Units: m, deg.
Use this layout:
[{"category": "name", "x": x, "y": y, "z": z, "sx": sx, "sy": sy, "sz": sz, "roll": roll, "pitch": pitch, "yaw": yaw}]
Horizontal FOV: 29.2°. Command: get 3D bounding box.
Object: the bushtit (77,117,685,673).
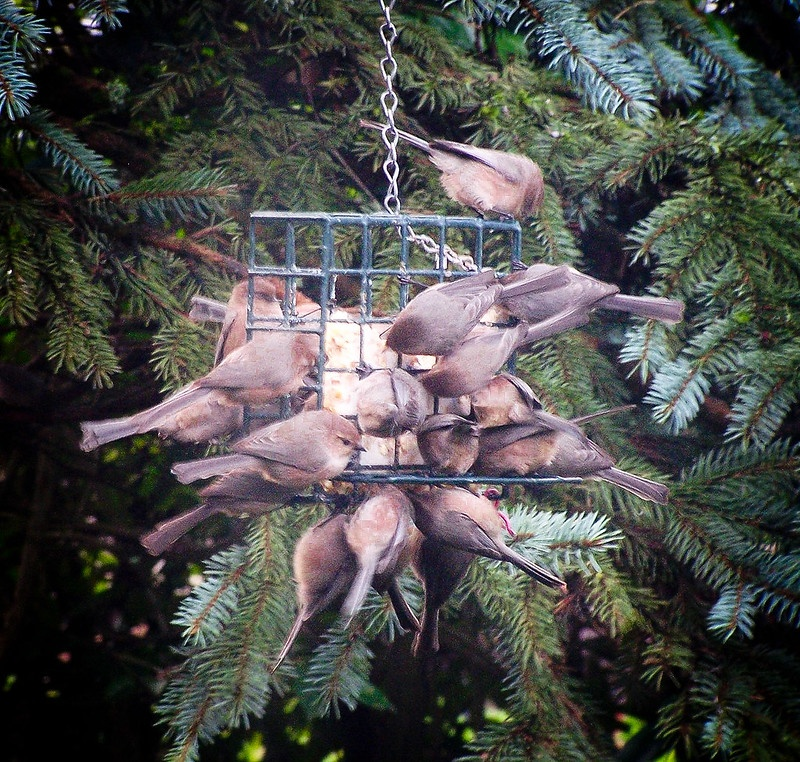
[{"category": "bushtit", "x": -0.108, "y": -0.049, "z": 3.447, "sx": 1.197, "sy": 0.697, "sz": 0.732, "roll": -34, "pitch": 81, "yaw": -8}]
